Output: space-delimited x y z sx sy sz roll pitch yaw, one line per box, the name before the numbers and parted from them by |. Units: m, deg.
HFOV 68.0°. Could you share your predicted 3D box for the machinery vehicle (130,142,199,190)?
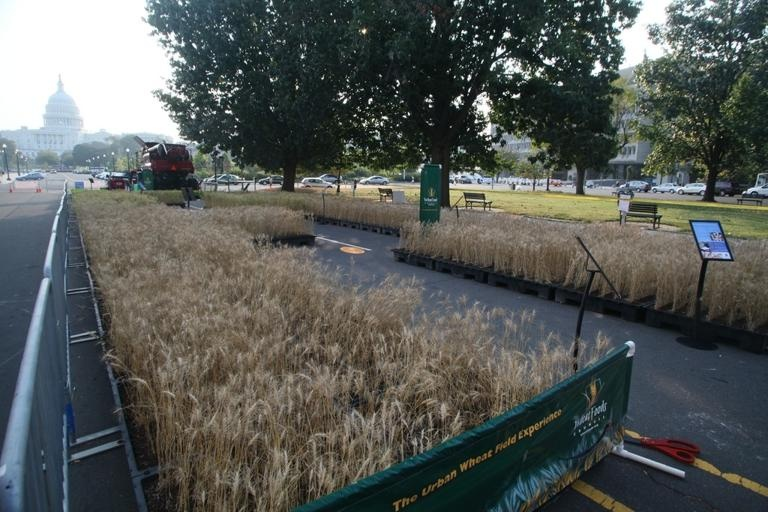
machinery vehicle | -12.369 -4.774 31.275 1.909 3.754 6.488 -1 5 -36
